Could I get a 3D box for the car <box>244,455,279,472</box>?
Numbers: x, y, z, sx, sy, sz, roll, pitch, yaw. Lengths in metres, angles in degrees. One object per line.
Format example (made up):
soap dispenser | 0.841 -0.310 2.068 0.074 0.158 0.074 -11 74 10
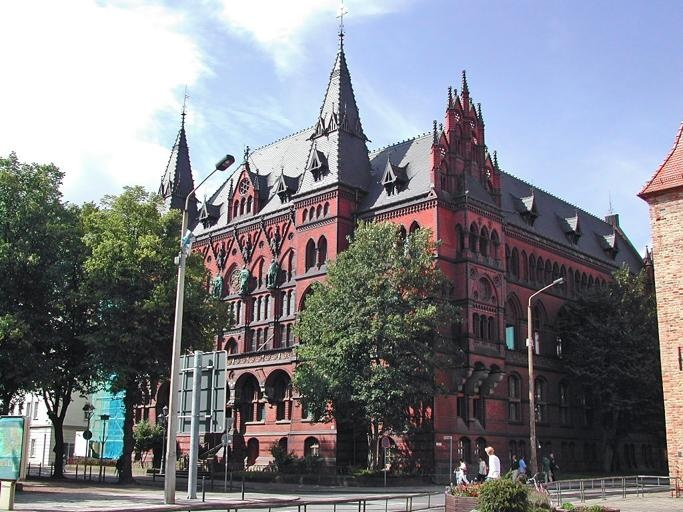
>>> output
car | -6.176 16.324 68.186 2.237 1.527 2.298 -10 -16 40
